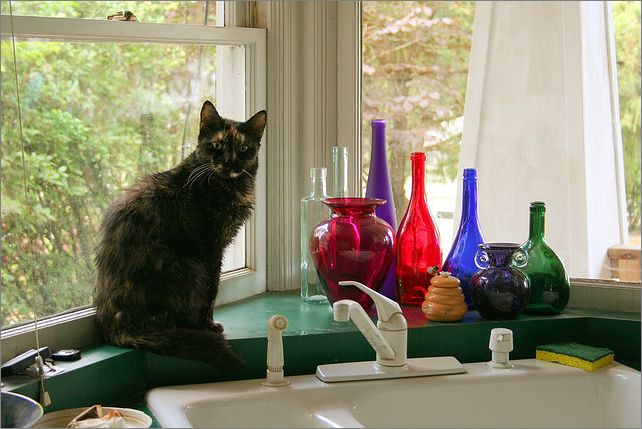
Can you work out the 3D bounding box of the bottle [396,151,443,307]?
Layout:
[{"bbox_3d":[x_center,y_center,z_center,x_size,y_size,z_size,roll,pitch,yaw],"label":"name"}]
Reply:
[{"bbox_3d":[0.310,0.049,1.985,0.142,0.489,0.081,0,8,10],"label":"bottle"}]

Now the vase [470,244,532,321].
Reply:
[{"bbox_3d":[0.530,0.198,1.845,0.205,0.274,0.205,0,-4,-5],"label":"vase"}]

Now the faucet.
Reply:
[{"bbox_3d":[0.137,0.308,1.687,0.245,0.235,0.077,10,-15,-32],"label":"faucet"}]

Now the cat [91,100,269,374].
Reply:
[{"bbox_3d":[-0.394,0.045,1.748,0.495,0.720,0.337,-4,8,-12],"label":"cat"}]

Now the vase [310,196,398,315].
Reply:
[{"bbox_3d":[0.097,0.119,1.856,0.299,0.381,0.309,1,-3,7],"label":"vase"}]
